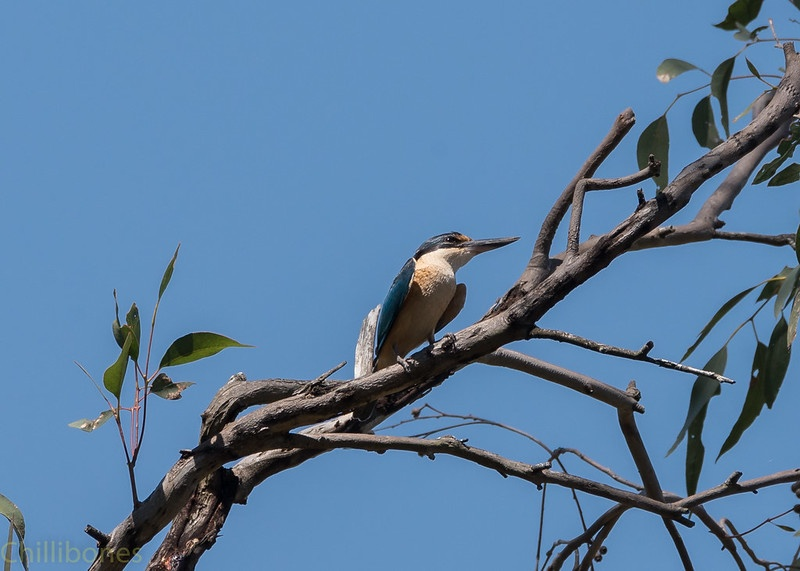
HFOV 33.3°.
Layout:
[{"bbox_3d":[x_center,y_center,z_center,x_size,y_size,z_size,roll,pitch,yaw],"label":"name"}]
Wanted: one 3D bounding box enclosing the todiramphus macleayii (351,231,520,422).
[{"bbox_3d":[0.073,0.151,8.357,0.488,0.978,1.290,15,-17,-37],"label":"todiramphus macleayii"}]
